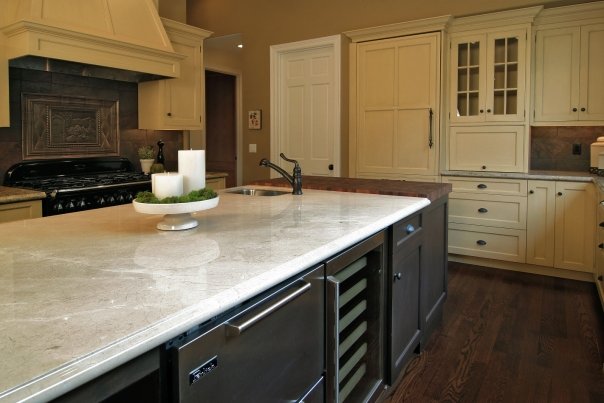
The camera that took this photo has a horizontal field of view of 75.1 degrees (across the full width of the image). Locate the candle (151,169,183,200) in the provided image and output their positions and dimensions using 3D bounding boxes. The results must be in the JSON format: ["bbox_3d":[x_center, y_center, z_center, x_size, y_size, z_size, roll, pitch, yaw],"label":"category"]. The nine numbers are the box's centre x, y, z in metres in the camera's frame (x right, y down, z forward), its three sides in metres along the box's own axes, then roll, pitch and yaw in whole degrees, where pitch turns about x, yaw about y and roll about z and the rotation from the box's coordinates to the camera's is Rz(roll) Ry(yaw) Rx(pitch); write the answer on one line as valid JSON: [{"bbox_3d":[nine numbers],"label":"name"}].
[{"bbox_3d":[-0.635,-0.075,1.788,0.125,0.122,0.126,2,2,36],"label":"candle"}]

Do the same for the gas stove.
[{"bbox_3d":[-2.014,-0.098,3.710,0.709,0.241,1.061,7,15,31],"label":"gas stove"}]

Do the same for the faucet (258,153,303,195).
[{"bbox_3d":[-0.154,-0.209,2.854,0.360,0.264,0.087,11,17,27],"label":"faucet"}]

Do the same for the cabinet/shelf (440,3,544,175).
[{"bbox_3d":[2.035,-1.168,4.303,0.886,1.672,0.327,4,14,22],"label":"cabinet/shelf"}]

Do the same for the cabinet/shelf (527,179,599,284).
[{"bbox_3d":[2.623,0.229,3.990,0.613,0.872,0.163,5,14,26],"label":"cabinet/shelf"}]

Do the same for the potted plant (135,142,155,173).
[{"bbox_3d":[-1.795,-0.493,4.528,0.188,0.312,0.340,-6,14,-19],"label":"potted plant"}]

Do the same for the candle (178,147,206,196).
[{"bbox_3d":[-0.540,-0.139,1.914,0.137,0.226,0.136,-2,5,-6],"label":"candle"}]

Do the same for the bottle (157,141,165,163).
[{"bbox_3d":[-1.698,-0.579,4.692,0.101,0.287,0.306,-6,14,-19],"label":"bottle"}]

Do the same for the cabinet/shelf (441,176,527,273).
[{"bbox_3d":[2.029,0.174,4.337,0.829,0.860,0.270,3,14,19],"label":"cabinet/shelf"}]
